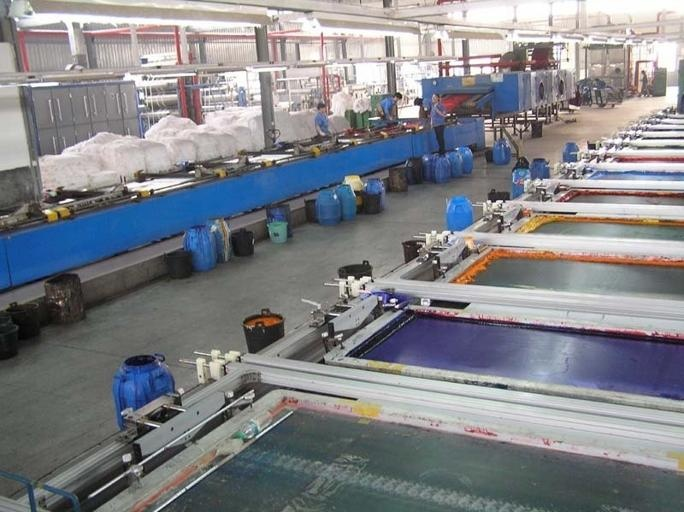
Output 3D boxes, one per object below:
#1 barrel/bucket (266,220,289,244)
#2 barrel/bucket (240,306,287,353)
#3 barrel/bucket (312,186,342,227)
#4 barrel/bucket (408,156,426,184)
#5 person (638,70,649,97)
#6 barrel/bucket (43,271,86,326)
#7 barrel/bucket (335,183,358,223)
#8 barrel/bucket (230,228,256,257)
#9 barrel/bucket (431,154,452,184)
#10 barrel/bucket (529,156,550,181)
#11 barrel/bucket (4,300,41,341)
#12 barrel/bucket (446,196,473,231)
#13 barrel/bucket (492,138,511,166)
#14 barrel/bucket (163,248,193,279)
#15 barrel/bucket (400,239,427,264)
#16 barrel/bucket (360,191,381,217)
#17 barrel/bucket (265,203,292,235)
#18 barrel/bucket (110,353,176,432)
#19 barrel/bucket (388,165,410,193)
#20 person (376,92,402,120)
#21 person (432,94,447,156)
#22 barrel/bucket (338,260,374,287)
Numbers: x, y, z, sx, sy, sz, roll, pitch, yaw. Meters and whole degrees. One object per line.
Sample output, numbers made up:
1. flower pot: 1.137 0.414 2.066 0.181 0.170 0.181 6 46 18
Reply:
1. barrel/bucket: -0.984 -0.370 7.967 0.331 0.262 0.336 -5 12 1
2. barrel/bucket: -0.666 0.675 4.350 0.354 0.376 0.349 -2 13 0
3. barrel/bucket: -0.229 -0.812 8.654 0.585 0.611 0.471 2 13 19
4. barrel/bucket: 1.688 -1.909 11.454 0.346 0.571 0.204 -6 17 -13
5. person: 17.673 -9.973 29.412 0.454 1.395 0.886 6 19 27
6. barrel/bucket: -3.073 0.501 5.617 0.352 0.506 0.169 -10 18 -24
7. barrel/bucket: 0.096 -0.939 8.880 0.576 0.831 0.525 -2 4 0
8. barrel/bucket: -1.436 -0.173 7.480 0.317 0.370 0.386 -1 6 1
9. barrel/bucket: 2.318 -1.961 11.497 0.431 0.591 0.402 -2 16 1
10. barrel/bucket: 3.356 -1.449 8.562 0.295 0.333 0.708 3 17 19
11. barrel/bucket: -3.305 0.675 5.420 0.346 0.362 0.363 0 7 0
12. barrel/bucket: 1.120 -0.373 4.784 0.222 0.327 0.424 1 17 10
13. barrel/bucket: 4.125 -2.666 13.058 0.539 0.606 0.389 -15 21 -37
14. barrel/bucket: -2.154 0.113 6.716 0.374 0.279 0.345 -1 13 0
15. barrel/bucket: 0.835 -0.077 5.926 0.317 0.257 0.335 -1 8 0
16. barrel/bucket: 0.537 -0.930 9.206 0.369 0.372 0.387 -1 9 0
17. barrel/bucket: -0.951 -0.598 8.291 0.462 0.689 0.486 0 11 0
18. barrel/bucket: -1.236 0.917 3.282 0.344 0.534 0.372 -13 -21 -5
19. barrel/bucket: 1.211 -1.625 10.891 0.428 0.499 0.286 1 17 11
20. person: 1.247 -3.928 13.363 0.512 0.701 1.175 -2 16 2
21. person: 2.405 -3.226 12.410 0.329 1.363 0.560 -7 17 -14
22. barrel/bucket: 0.125 0.152 4.475 0.222 0.214 0.215 -1 9 0
